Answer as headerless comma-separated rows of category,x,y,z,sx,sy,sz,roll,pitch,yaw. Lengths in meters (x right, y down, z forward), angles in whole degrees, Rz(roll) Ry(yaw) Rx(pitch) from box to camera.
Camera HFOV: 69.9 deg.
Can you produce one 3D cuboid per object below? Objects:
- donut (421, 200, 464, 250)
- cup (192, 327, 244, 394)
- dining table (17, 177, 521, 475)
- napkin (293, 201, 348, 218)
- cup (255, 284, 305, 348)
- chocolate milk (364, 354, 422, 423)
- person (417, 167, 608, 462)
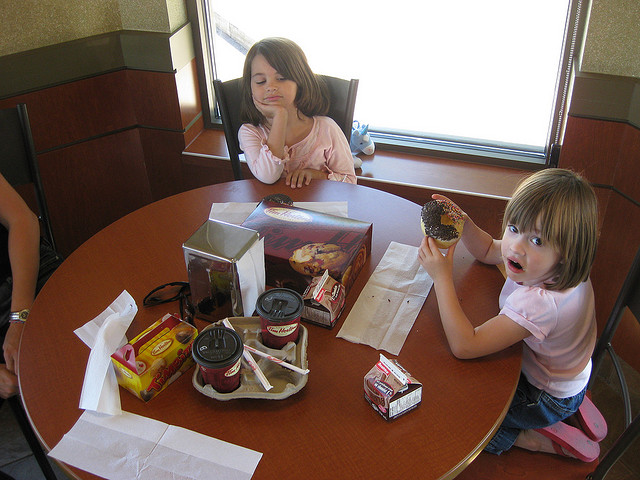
donut,0.382,-0.055,1.392,0.153,0.107,0.172,5,3,22
cup,-0.229,0.284,1.042,0.108,0.143,0.093,-6,28,-12
dining table,-0.146,0.200,1.235,1.292,0.278,0.855,-2,29,-6
napkin,0.001,-0.116,1.646,0.199,0.016,0.097,3,29,3
cup,-0.088,0.188,1.177,0.131,0.195,0.134,1,48,-1
chocolate milk,0.169,0.336,1.059,0.118,0.106,0.120,18,31,39
person,0.563,0.224,1.362,0.539,0.882,0.471,-2,24,-8
